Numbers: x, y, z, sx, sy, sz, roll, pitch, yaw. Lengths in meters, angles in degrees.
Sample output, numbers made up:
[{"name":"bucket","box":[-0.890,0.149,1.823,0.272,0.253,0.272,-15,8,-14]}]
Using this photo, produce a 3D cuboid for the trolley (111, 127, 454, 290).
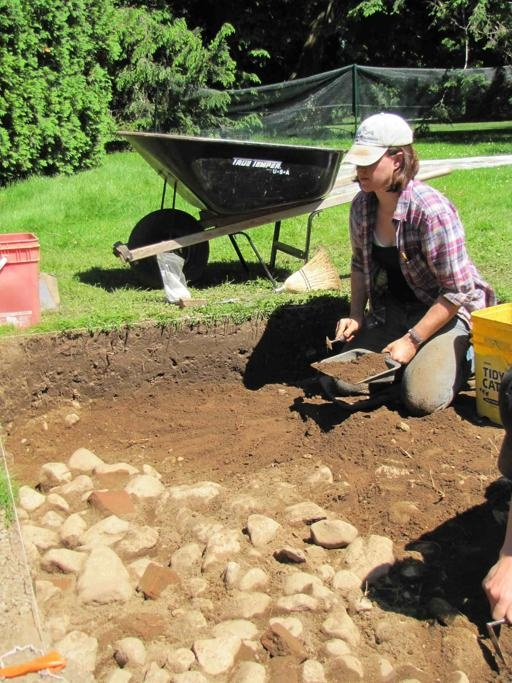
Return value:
[{"name":"trolley","box":[0.467,-1.389,5.596,3.192,1.278,1.033,-10,41,-25]}]

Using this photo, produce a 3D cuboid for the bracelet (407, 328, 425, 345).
[{"name":"bracelet","box":[0.792,-0.021,3.222,0.064,0.037,0.087,50,12,34]}]

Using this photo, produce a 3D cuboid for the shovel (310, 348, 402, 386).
[{"name":"shovel","box":[0.529,0.136,3.294,0.278,0.042,0.256,-25,31,-33]}]

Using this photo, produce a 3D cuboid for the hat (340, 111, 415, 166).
[{"name":"hat","box":[0.587,-0.962,3.115,0.281,0.251,0.237,6,19,15]}]
